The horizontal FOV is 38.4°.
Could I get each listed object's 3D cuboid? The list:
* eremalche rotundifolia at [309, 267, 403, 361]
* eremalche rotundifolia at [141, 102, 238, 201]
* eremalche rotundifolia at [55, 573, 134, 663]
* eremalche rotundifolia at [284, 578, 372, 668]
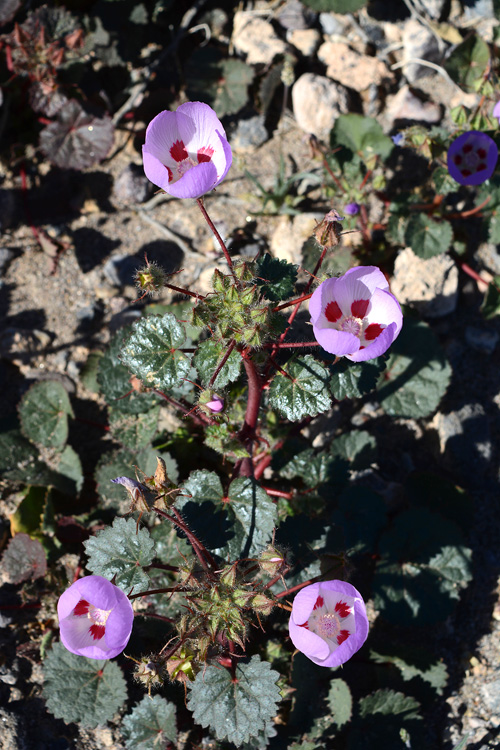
[{"bbox_3d":[0.450,-0.259,3.089,0.398,0.311,0.429,-2,55,1],"label":"eremalche rotundifolia"},{"bbox_3d":[-0.254,-0.957,3.190,0.432,0.351,0.494,8,79,1],"label":"eremalche rotundifolia"},{"bbox_3d":[-0.622,1.010,3.075,0.364,0.194,0.389,4,96,31],"label":"eremalche rotundifolia"},{"bbox_3d":[0.330,1.037,3.041,0.316,0.228,0.322,20,58,15],"label":"eremalche rotundifolia"}]
